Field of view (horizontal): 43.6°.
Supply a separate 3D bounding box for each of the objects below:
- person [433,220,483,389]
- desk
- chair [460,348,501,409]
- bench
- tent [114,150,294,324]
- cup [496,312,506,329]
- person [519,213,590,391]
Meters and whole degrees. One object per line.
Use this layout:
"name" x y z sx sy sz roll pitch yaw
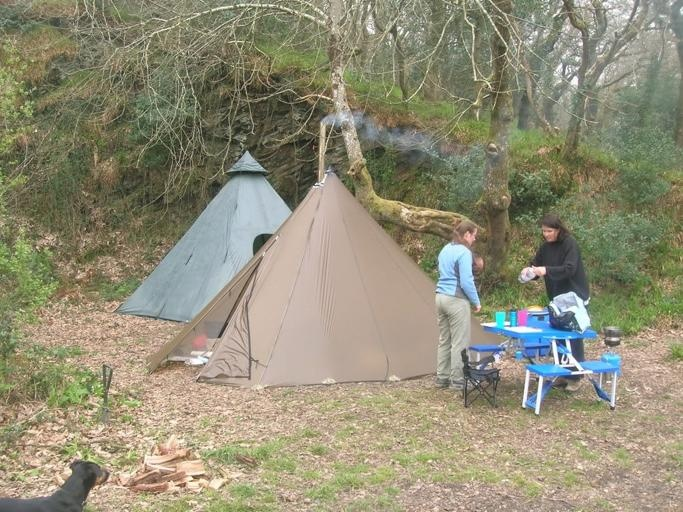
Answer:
"person" 1.703 0.744 12.621 0.646 2.487 0.522 3 7 12
"desk" 3.284 1.661 12.747 1.322 0.981 1.471 -9 -9 16
"chair" 2.040 1.785 12.551 0.525 0.842 0.665 -1 8 2
"bench" 3.162 1.709 12.456 1.280 0.574 1.320 -1 5 -14
"tent" -2.423 0.127 15.945 3.221 2.301 2.948 6 10 -25
"cup" 2.314 0.932 12.530 0.177 0.314 0.188 1 -4 0
"person" 3.246 0.567 13.082 0.952 2.547 0.962 -3 22 8
